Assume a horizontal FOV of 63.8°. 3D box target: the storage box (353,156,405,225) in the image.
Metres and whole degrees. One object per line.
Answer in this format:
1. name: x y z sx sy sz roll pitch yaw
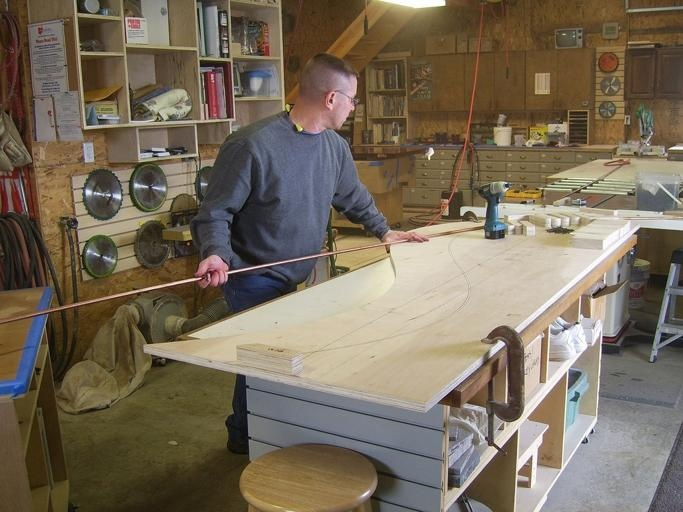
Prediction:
1. storage box: 0.580 -0.921 7.634 0.534 0.884 0.674 7 11 31

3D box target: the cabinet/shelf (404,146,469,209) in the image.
1. cabinet/shelf: 1.717 -1.393 9.650 1.195 0.989 0.527 11 16 37

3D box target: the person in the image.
1. person: -0.218 0.037 3.024 1.273 2.134 0.528 -7 19 -35

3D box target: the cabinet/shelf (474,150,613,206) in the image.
1. cabinet/shelf: 3.049 -1.408 8.766 2.795 0.967 0.951 12 15 34

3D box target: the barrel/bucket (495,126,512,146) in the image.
1. barrel/bucket: 2.683 -1.972 9.158 0.320 0.351 0.327 0 7 0

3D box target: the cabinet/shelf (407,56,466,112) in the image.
1. cabinet/shelf: 1.653 -2.990 9.721 1.003 0.906 0.375 0 -3 1
